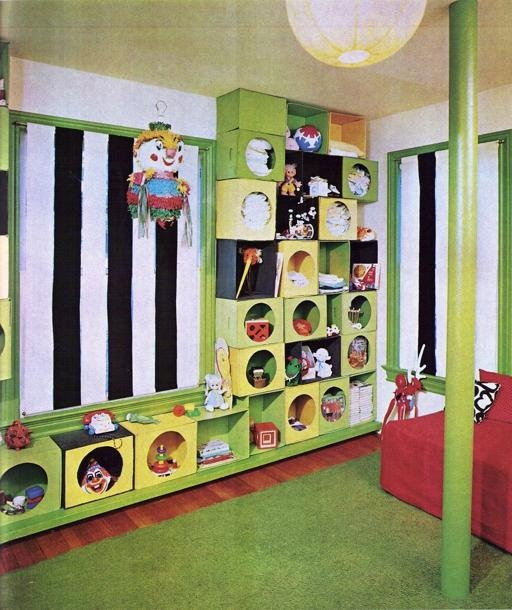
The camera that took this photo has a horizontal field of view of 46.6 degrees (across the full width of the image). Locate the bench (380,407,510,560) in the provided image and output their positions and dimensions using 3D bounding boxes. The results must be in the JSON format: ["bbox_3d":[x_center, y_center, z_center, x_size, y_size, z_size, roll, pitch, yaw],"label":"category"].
[{"bbox_3d":[0.818,0.704,2.418,0.484,0.219,0.386,0,1,-40],"label":"bench"}]
